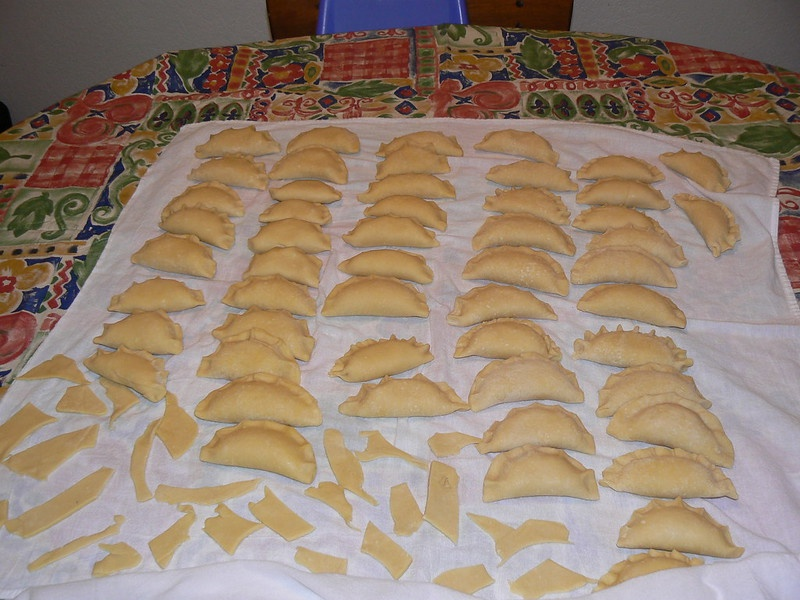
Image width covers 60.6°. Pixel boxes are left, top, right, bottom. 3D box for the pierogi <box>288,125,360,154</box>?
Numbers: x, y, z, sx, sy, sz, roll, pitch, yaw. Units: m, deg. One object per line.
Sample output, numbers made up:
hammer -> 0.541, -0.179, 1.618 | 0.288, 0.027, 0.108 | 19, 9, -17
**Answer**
pierogi -> -0.465, -1.052, 4.537 | 0.578, 0.079, 0.173 | 4, 53, 3
